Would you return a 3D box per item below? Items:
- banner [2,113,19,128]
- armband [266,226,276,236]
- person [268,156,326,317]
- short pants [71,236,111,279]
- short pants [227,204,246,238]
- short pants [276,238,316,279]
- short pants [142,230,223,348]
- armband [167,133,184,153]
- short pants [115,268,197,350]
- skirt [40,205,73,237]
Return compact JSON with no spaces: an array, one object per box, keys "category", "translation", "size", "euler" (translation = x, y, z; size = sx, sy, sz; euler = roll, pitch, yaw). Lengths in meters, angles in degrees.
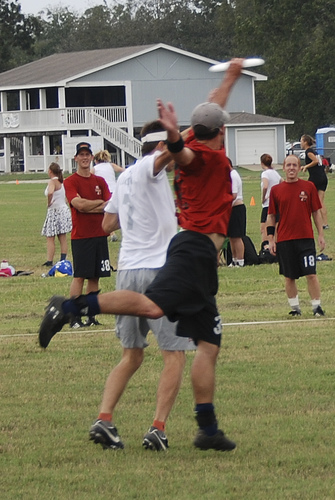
[{"category":"banner","translation":[-10.061,-8.308,44.399],"size":[1.067,0.981,0.145],"euler":[4,7,36]},{"category":"armband","translation":[1.225,-0.219,8.168],"size":[0.109,0.079,0.096],"euler":[0,-4,6]},{"category":"person","translation":[1.440,-0.150,7.746],"size":[0.601,1.785,0.720],"euler":[-2,3,8]},{"category":"short pants","translation":[-0.836,0.089,7.467],"size":[0.462,0.563,0.321],"euler":[1,-9,-32]},{"category":"short pants","translation":[1.146,-0.466,11.430],"size":[0.326,0.555,0.278],"euler":[-3,3,-10]},{"category":"short pants","translation":[1.405,0.093,7.498],"size":[0.443,0.402,0.257],"euler":[-3,-6,23]},{"category":"short pants","translation":[0.105,0.231,3.680],"size":[0.278,0.545,0.589],"euler":[-9,-41,23]},{"category":"armband","translation":[0.044,-0.525,3.401],"size":[0.091,0.085,0.085],"euler":[1,8,3]},{"category":"short pants","translation":[-0.091,0.346,4.073],"size":[0.516,0.474,0.293],"euler":[-2,-2,22]},{"category":"skirt","translation":[-1.998,-0.560,12.593],"size":[0.642,0.570,0.435],"euler":[-6,11,-11]}]
